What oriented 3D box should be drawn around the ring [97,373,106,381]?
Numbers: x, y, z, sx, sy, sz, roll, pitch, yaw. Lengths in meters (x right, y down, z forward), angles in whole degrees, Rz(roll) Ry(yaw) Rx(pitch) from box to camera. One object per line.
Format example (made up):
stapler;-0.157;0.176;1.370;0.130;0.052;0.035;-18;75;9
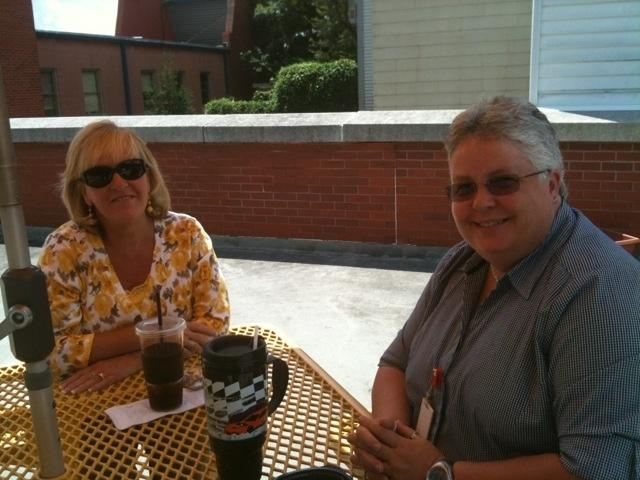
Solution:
ring;-0.777;0.495;1.884;0.019;0.004;0.018;-5;29;3
